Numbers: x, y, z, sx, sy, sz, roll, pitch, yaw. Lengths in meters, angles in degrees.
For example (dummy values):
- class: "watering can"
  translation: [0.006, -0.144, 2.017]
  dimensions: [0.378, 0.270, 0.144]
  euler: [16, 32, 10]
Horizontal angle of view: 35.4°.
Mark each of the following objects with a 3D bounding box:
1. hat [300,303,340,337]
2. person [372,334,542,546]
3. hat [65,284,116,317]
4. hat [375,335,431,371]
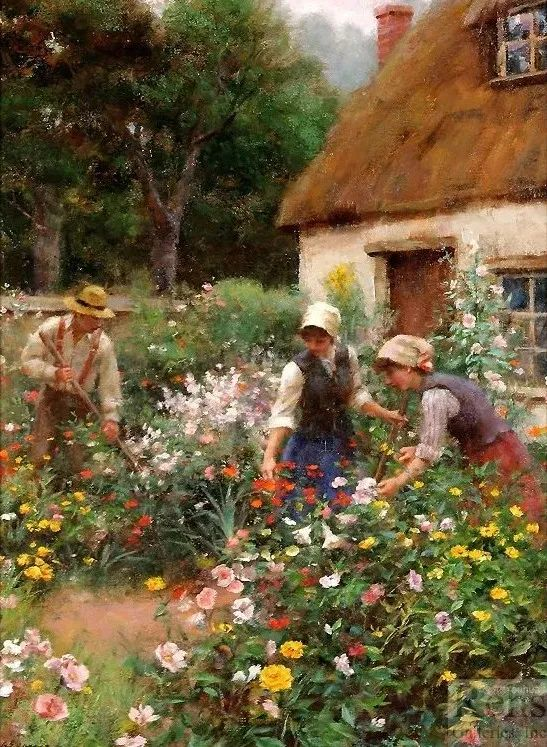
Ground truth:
- class: "hat"
  translation: [0.197, -0.234, 3.657]
  dimensions: [0.128, 0.078, 0.170]
  euler: [3, 23, 0]
- class: "person"
  translation: [0.687, 0.188, 3.266]
  dimensions: [0.593, 0.675, 0.395]
  euler: [-1, -1, 7]
- class: "hat"
  translation: [-0.969, -0.375, 4.506]
  dimensions: [0.228, 0.188, 0.222]
  euler: [-1, -1, -12]
- class: "hat"
  translation: [0.492, -0.081, 3.304]
  dimensions: [0.197, 0.121, 0.130]
  euler: [9, 4, 6]
